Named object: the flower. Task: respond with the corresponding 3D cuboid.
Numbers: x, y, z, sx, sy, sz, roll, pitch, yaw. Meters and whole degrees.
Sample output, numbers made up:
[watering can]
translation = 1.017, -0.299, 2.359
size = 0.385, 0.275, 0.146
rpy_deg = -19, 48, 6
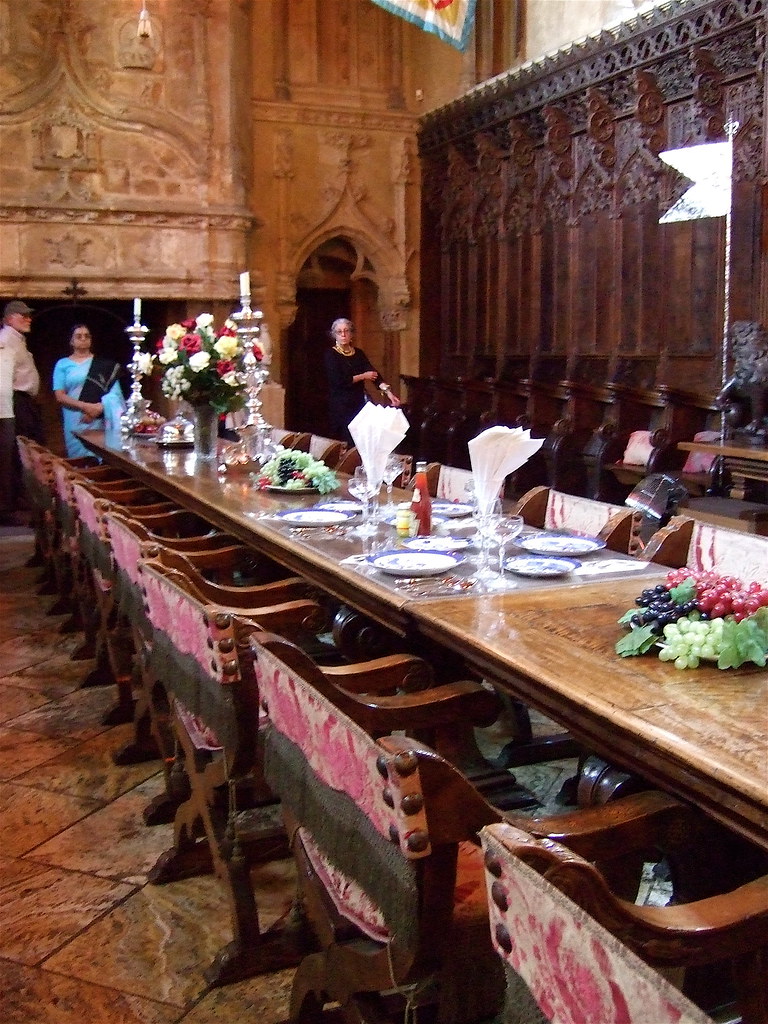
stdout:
[flower]
translation = -1.082, -0.842, 5.052
size = 0.934, 0.862, 0.869
rpy_deg = -3, 8, -6
